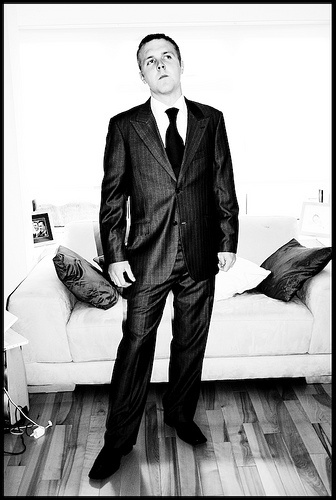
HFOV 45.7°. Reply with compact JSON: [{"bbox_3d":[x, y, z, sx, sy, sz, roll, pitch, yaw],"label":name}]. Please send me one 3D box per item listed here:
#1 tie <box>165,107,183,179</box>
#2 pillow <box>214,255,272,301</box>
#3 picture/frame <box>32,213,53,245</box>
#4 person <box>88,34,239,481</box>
[{"bbox_3d":[0.021,-0.330,1.223,0.060,0.224,0.083,-3,5,-19],"label":"tie"},{"bbox_3d":[0.351,0.162,1.999,0.213,0.069,0.219,-32,36,-16],"label":"pillow"},{"bbox_3d":[-0.898,-0.155,2.816,0.174,0.216,0.020,-12,8,-28],"label":"picture/frame"},{"bbox_3d":[-0.013,0.009,1.325,0.526,1.353,0.265,-2,5,-11],"label":"person"}]
